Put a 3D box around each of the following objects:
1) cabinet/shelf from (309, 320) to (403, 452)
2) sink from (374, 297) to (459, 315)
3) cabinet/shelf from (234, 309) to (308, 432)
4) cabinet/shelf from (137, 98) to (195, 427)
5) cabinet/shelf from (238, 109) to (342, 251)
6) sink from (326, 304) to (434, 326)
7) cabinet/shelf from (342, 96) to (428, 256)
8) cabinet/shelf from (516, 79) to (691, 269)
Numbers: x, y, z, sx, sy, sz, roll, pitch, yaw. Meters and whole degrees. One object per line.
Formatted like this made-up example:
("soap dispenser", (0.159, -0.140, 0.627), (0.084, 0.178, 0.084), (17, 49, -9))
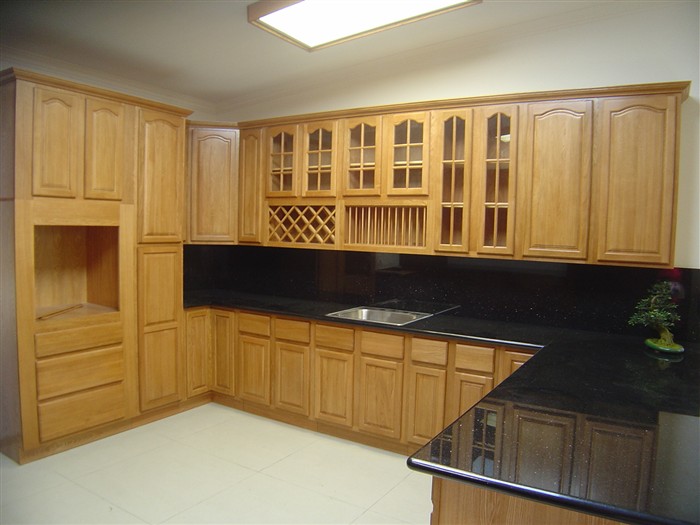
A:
("cabinet/shelf", (0.138, 0.899, 4.208), (0.841, 0.813, 0.441), (4, 10, 25))
("sink", (0.529, 0.362, 4.303), (0.732, 0.108, 0.196), (7, 12, 28))
("cabinet/shelf", (-0.597, 0.864, 4.558), (0.906, 0.882, 0.363), (4, 6, 30))
("cabinet/shelf", (-1.751, 0.067, 4.464), (0.299, 2.788, 0.586), (12, 14, 26))
("cabinet/shelf", (-0.505, -0.692, 4.686), (1.130, 1.074, 0.343), (4, 5, 27))
("sink", (0.251, 0.447, 4.326), (0.470, 0.157, 0.319), (3, 4, 40))
("cabinet/shelf", (0.325, -0.659, 4.190), (0.830, 1.120, 0.333), (8, 13, 33))
("cabinet/shelf", (1.759, -0.604, 3.466), (1.313, 1.409, 0.549), (1, 2, 29))
